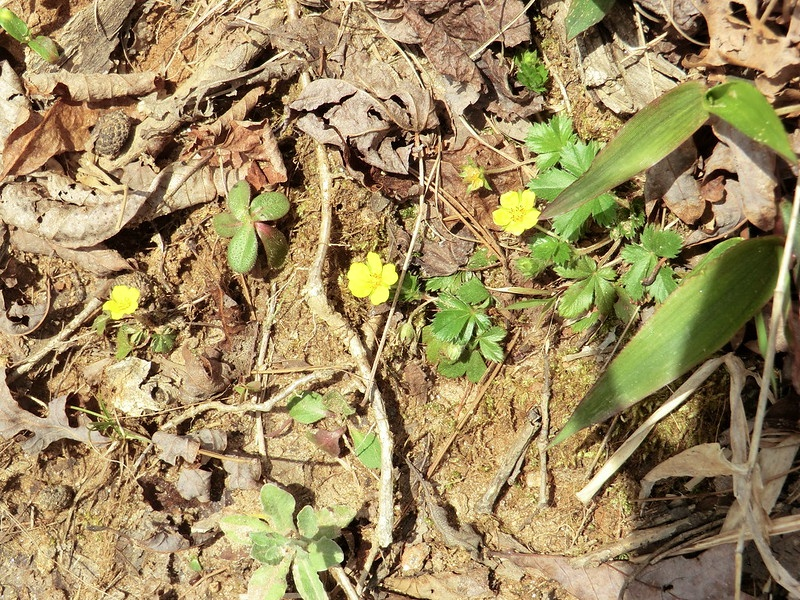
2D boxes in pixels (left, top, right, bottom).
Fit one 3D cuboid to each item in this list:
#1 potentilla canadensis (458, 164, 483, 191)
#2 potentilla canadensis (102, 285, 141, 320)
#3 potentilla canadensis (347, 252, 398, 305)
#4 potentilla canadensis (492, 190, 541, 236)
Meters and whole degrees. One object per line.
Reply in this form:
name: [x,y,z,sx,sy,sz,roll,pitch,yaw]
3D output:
potentilla canadensis: [0.369,-0.628,3.912,0.113,0.131,0.059,-19,6,34]
potentilla canadensis: [-1.449,0.014,3.999,0.164,0.192,0.072,32,7,0]
potentilla canadensis: [-0.142,-0.112,3.995,0.269,0.309,0.264,-5,26,-6]
potentilla canadensis: [0.591,-0.447,3.846,0.233,0.195,0.164,-1,26,2]
